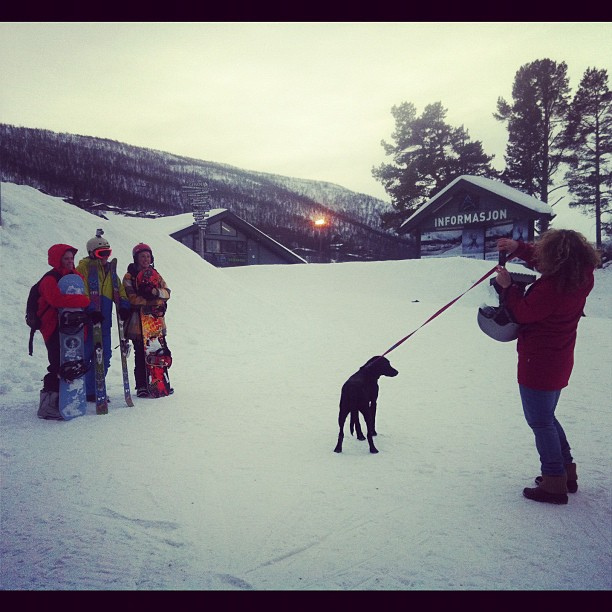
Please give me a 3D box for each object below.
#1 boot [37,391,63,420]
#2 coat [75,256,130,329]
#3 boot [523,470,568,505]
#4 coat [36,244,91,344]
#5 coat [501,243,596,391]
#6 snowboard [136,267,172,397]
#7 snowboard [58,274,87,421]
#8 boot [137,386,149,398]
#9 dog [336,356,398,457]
[{"bbox_3d":[-2.598,1.028,7.584,0.258,0.258,0.181,-1,12,-3],"label":"boot"},{"bbox_3d":[-2.308,-0.185,8.431,0.199,1.218,0.322,-5,-1,40],"label":"coat"},{"bbox_3d":[1.868,1.398,5.683,0.356,0.271,0.161,4,-1,31],"label":"boot"},{"bbox_3d":[-2.510,-0.083,7.747,0.502,1.079,0.611,-1,12,-4],"label":"coat"},{"bbox_3d":[1.810,0.157,5.614,0.650,0.964,0.325,4,13,18],"label":"coat"},{"bbox_3d":[-1.806,0.346,8.921,0.332,1.708,0.248,-3,2,-27],"label":"snowboard"},{"bbox_3d":[-2.373,0.459,7.683,0.354,1.839,0.241,10,29,3],"label":"snowboard"},{"bbox_3d":[-1.940,1.039,8.867,0.131,0.123,0.063,-3,13,-10],"label":"boot"},{"bbox_3d":[0.548,0.973,7.029,0.563,0.900,0.610,5,9,8],"label":"dog"}]
